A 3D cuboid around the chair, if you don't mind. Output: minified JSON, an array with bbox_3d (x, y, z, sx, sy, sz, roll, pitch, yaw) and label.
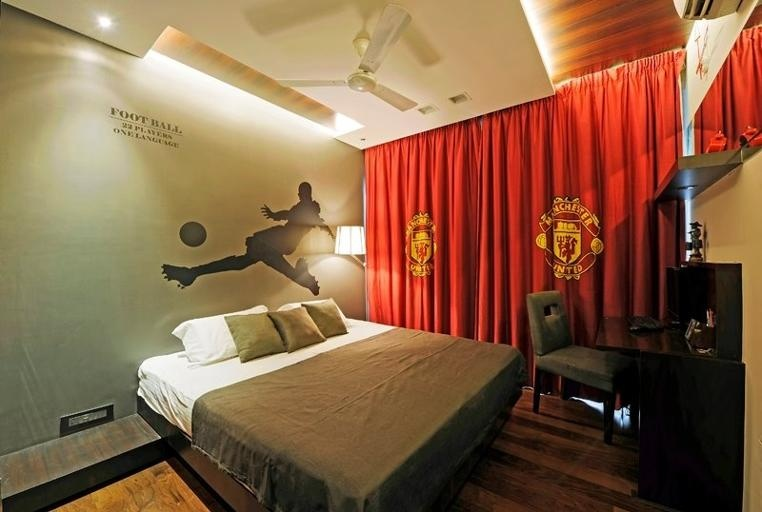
[{"bbox_3d":[2.027,1.003,4.862,0.913,1.158,0.770,6,10,42],"label":"chair"}]

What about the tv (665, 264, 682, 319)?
[{"bbox_3d":[2.803,0.334,4.570,0.139,0.373,0.534,-2,0,30],"label":"tv"}]

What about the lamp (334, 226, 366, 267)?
[{"bbox_3d":[-0.412,-0.109,6.393,0.415,0.558,0.429,2,4,21],"label":"lamp"}]
